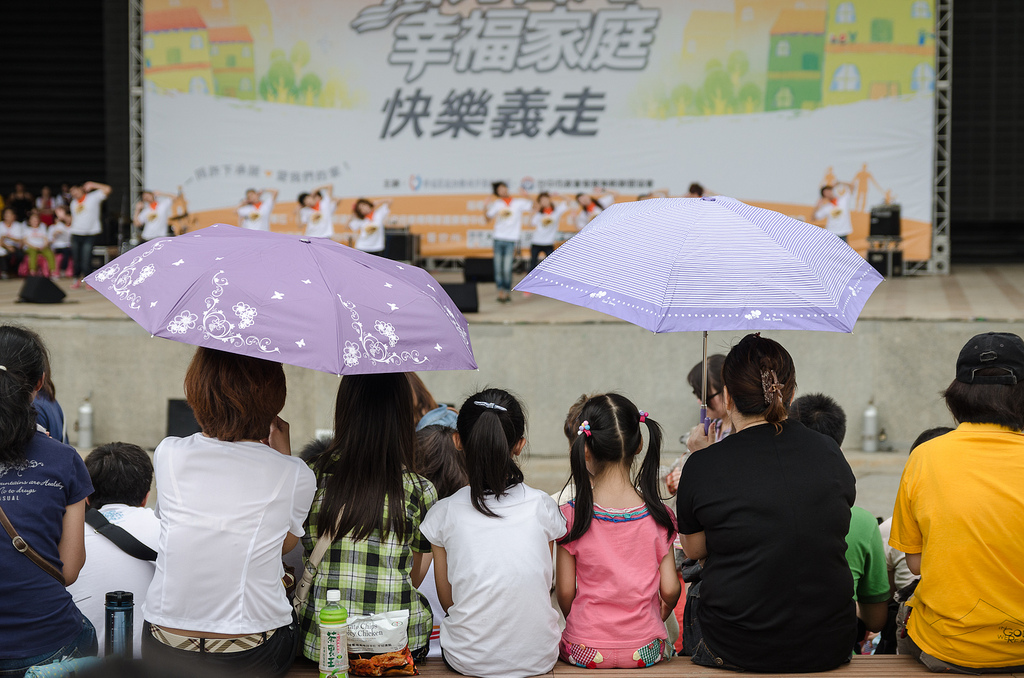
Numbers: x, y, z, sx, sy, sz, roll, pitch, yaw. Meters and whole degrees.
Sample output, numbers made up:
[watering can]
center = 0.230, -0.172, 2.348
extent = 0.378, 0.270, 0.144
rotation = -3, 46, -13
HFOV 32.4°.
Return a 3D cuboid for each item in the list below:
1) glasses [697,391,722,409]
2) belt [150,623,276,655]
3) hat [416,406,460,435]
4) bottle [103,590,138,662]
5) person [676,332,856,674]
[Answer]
[glasses]
center = 1.845, 0.558, 16.455
extent = 0.145, 0.181, 0.097
rotation = 6, 31, -23
[belt]
center = -2.593, 2.590, 15.165
extent = 1.047, 0.228, 0.089
rotation = 1, 1, -4
[hat]
center = -0.707, 0.744, 16.300
extent = 0.217, 0.298, 0.315
rotation = -15, -40, 5
[bottle]
center = -3.431, 2.471, 15.261
extent = 0.245, 0.555, 0.421
rotation = 1, 1, -14
[person]
center = 2.223, 1.435, 15.368
extent = 1.525, 2.939, 0.352
rotation = 1, 1, 10
